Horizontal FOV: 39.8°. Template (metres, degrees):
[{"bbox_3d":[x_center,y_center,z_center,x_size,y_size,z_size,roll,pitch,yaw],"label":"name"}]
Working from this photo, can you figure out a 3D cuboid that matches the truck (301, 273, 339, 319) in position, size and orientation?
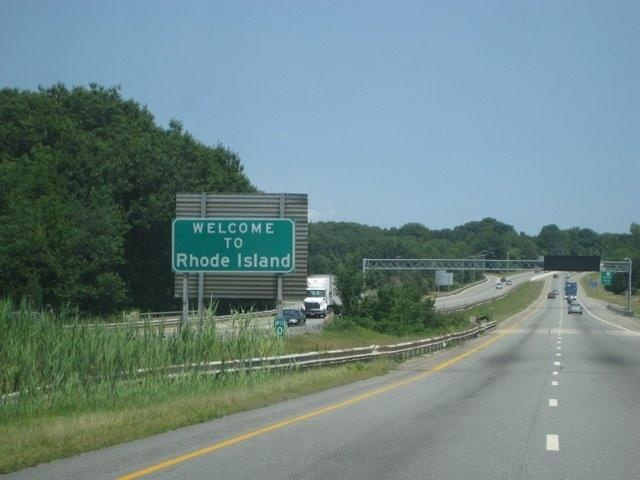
[{"bbox_3d":[0.089,5.112,78.707,1.892,3.432,6.518,-2,-9,8],"label":"truck"}]
